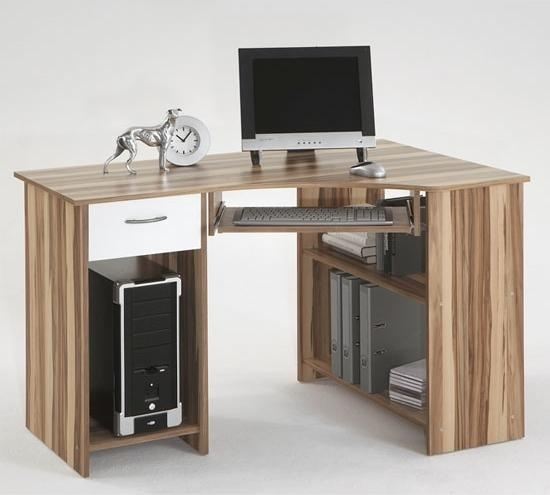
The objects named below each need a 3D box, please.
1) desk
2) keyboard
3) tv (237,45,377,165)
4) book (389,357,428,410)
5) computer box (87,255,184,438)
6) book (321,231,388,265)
[{"bbox_3d":[-0.105,0.148,2.571,1.795,1.126,1.242,-4,10,-19],"label":"desk"},{"bbox_3d":[0.141,-0.117,2.291,0.583,0.048,0.271,0,10,1],"label":"keyboard"},{"bbox_3d":[0.127,-0.585,2.577,0.605,0.487,0.188,-1,-1,-3],"label":"tv"},{"bbox_3d":[0.541,0.540,2.517,0.164,0.071,0.227,6,9,36],"label":"book"},{"bbox_3d":[-0.529,0.356,2.332,0.302,0.579,0.402,-6,11,-29],"label":"computer box"},{"bbox_3d":[0.343,-0.027,2.708,0.154,0.138,0.161,-11,19,-38],"label":"book"}]
